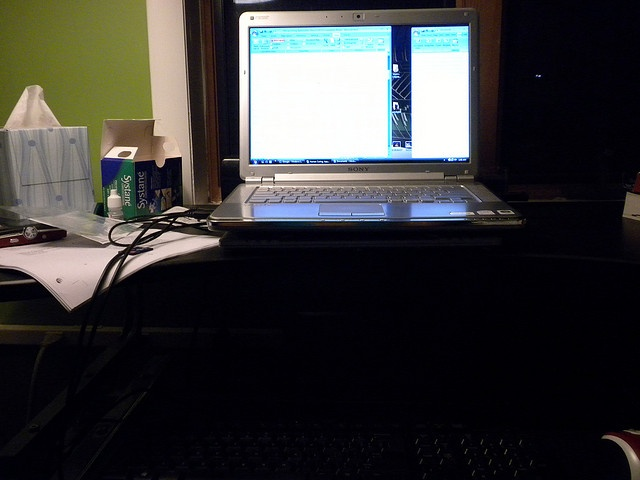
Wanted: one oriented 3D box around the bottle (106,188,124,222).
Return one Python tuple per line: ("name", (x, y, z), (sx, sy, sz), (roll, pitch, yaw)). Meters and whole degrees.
("bottle", (-0.473, -0.073, 1.218), (0.038, 0.083, 0.036), (2, 11, 0))
